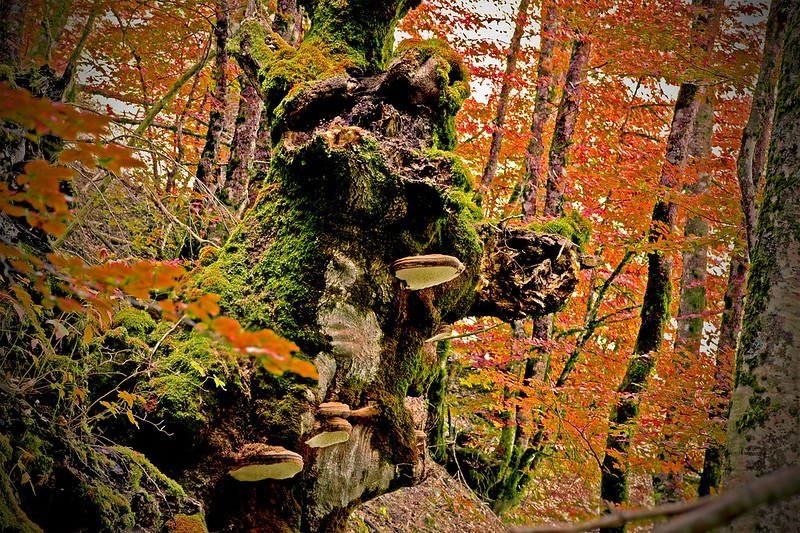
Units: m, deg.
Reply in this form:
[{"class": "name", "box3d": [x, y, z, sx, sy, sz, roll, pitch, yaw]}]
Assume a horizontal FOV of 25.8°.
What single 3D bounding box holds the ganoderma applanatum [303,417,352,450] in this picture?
[{"class": "ganoderma applanatum", "box3d": [-1.361, 3.107, 32.451, 0.733, 0.567, 0.243, -22, 39, -10]}]
